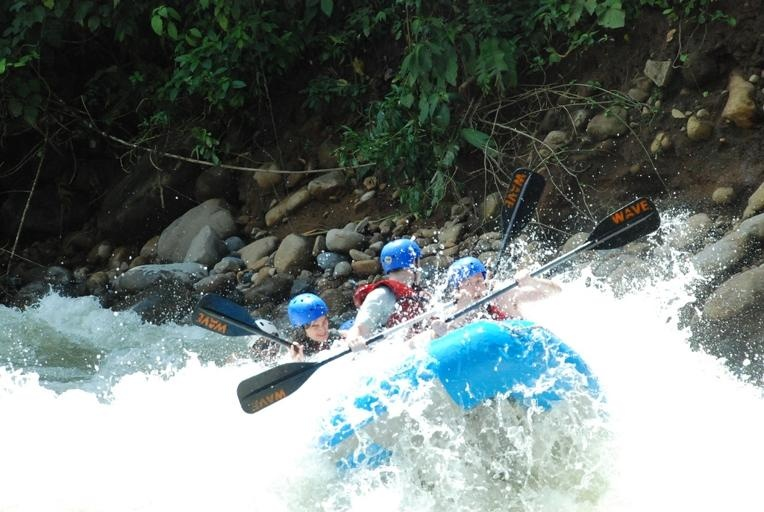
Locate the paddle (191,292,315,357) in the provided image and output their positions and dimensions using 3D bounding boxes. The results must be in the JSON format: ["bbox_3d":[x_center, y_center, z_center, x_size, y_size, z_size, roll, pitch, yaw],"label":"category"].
[{"bbox_3d":[-1.206,0.752,9.087,0.402,1.457,0.169,-64,16,6],"label":"paddle"}]

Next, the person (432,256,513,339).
[{"bbox_3d":[0.915,0.272,9.086,0.926,0.602,0.419,-20,12,-9],"label":"person"}]

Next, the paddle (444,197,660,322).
[{"bbox_3d":[1.956,0.070,9.812,2.695,0.465,0.118,-28,-6,-3],"label":"paddle"}]

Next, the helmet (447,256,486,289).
[{"bbox_3d":[0.808,0.152,9.031,0.360,0.288,0.262,-34,-7,37],"label":"helmet"}]

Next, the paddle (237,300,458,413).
[{"bbox_3d":[-0.288,1.013,8.881,2.517,0.395,0.100,-24,20,-15],"label":"paddle"}]

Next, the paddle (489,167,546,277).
[{"bbox_3d":[1.300,-0.253,9.407,0.152,0.358,1.407,-40,-26,-45],"label":"paddle"}]

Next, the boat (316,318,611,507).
[{"bbox_3d":[0.702,1.452,8.728,2.259,0.773,1.392,-36,7,-8],"label":"boat"}]
